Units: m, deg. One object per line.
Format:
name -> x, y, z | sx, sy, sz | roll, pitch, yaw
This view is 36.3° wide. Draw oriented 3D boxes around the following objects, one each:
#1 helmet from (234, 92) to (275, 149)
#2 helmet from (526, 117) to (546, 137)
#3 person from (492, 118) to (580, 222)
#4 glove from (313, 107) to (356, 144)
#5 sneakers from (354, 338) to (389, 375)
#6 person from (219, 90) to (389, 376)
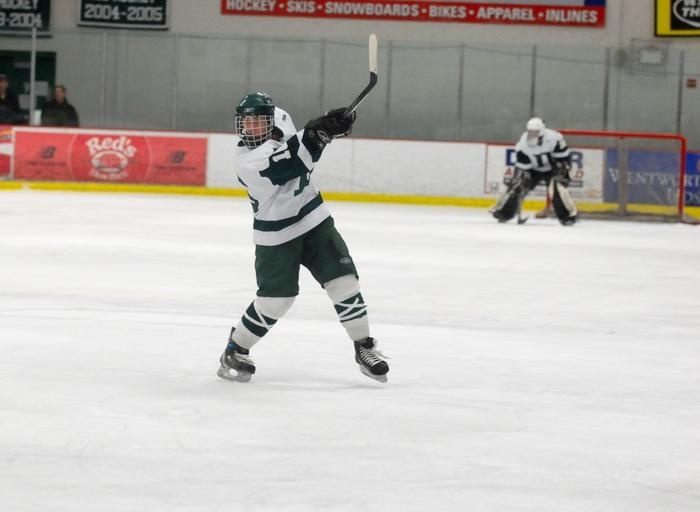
helmet -> -0.441, -0.643, 5.149 | 0.185, 0.227, 0.244 | -10, -3, 12
helmet -> 2.110, -1.467, 12.047 | 0.197, 0.197, 0.331 | 3, 12, 9
person -> 2.078, -0.960, 12.043 | 0.861, 1.183, 0.552 | -3, 12, -16
glove -> -0.070, -0.621, 4.985 | 0.222, 0.128, 0.087 | -28, -8, -3
sneakers -> 0.099, 0.487, 5.131 | 0.099, 0.100, 0.240 | -14, 8, -16
person -> -0.221, -0.097, 5.129 | 0.807, 1.354, 0.447 | 1, 12, 1
